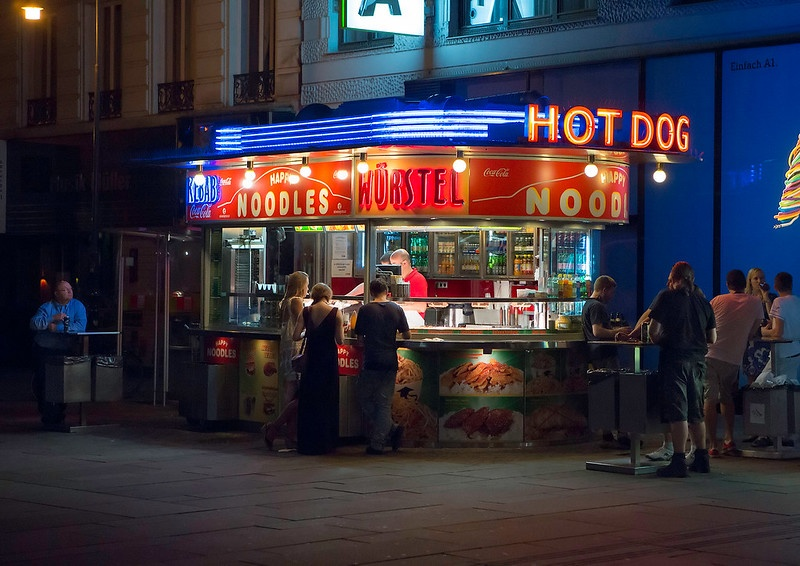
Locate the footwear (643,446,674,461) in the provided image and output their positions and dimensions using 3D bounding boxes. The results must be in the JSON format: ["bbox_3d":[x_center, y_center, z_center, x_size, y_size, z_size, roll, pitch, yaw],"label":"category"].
[{"bbox_3d":[2.954,1.947,9.567,0.329,0.146,0.125,-1,-2,21],"label":"footwear"}]

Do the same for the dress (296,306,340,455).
[{"bbox_3d":[-1.000,1.200,10.288,0.461,1.786,0.189,0,-4,8],"label":"dress"}]

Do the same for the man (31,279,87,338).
[{"bbox_3d":[-4.925,0.352,12.038,0.754,0.730,0.492,-1,5,-34],"label":"man"}]

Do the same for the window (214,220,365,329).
[{"bbox_3d":[-1.795,-0.227,12.946,2.653,1.855,1.410,0,1,8],"label":"window"}]

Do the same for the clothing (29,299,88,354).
[{"bbox_3d":[-4.912,0.624,12.157,0.968,1.101,0.681,4,-7,-21],"label":"clothing"}]

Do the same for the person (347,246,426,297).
[{"bbox_3d":[-0.031,-0.115,12.024,0.749,0.571,0.835,-2,0,-2],"label":"person"}]

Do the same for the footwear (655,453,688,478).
[{"bbox_3d":[2.885,1.950,9.007,0.380,0.280,0.175,4,2,43],"label":"footwear"}]

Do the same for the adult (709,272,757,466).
[{"bbox_3d":[4.078,0.974,10.280,0.690,2.245,0.635,4,-3,27],"label":"adult"}]

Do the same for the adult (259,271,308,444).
[{"bbox_3d":[-1.367,0.998,10.984,0.883,2.297,0.588,1,1,11],"label":"adult"}]

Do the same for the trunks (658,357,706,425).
[{"bbox_3d":[3.033,1.142,8.997,0.506,0.697,0.402,3,-7,-19],"label":"trunks"}]

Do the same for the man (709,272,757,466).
[{"bbox_3d":[4.048,0.972,10.270,0.692,2.255,0.626,5,-5,13],"label":"man"}]

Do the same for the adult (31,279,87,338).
[{"bbox_3d":[-4.982,0.471,12.134,1.012,0.987,0.647,3,-10,-41],"label":"adult"}]
